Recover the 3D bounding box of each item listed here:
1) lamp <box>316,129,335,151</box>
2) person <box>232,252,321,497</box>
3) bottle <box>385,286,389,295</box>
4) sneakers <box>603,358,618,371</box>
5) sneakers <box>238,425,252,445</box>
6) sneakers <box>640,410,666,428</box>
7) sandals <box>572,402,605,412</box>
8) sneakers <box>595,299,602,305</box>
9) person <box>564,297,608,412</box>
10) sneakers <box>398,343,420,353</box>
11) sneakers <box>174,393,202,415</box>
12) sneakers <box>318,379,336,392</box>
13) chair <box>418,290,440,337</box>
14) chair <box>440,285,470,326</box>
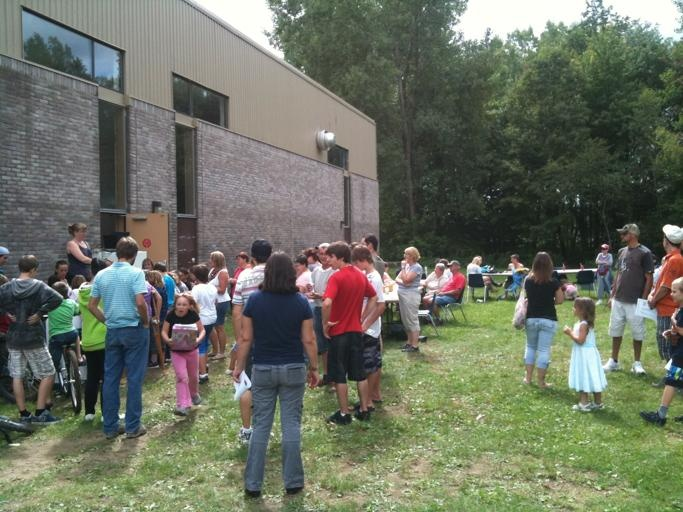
[{"bbox_3d":[-0.575,-4.253,26.995,0.441,0.807,0.862,0,0,19],"label":"lamp"},{"bbox_3d":[-0.946,1.587,10.610,1.091,3.434,0.966,-1,2,-6],"label":"person"},{"bbox_3d":[0.969,0.702,16.038,0.086,0.108,0.092,0,-2,0],"label":"bottle"},{"bbox_3d":[4.884,1.989,13.753,0.362,0.187,0.152,0,-4,3],"label":"sneakers"},{"bbox_3d":[-1.464,2.679,11.273,0.170,0.281,0.418,4,-5,-22],"label":"sneakers"},{"bbox_3d":[4.842,2.502,11.687,0.358,0.182,0.151,21,5,40],"label":"sneakers"},{"bbox_3d":[4.023,2.431,12.197,0.426,0.209,0.201,1,-1,19],"label":"sandals"},{"bbox_3d":[7.205,1.257,21.017,0.120,0.166,0.367,-6,-10,36],"label":"sneakers"},{"bbox_3d":[3.978,1.576,12.230,0.622,1.832,0.360,0,0,13],"label":"person"},{"bbox_3d":[1.397,1.854,15.297,0.272,0.111,0.158,7,-10,-15],"label":"sneakers"},{"bbox_3d":[-2.534,2.453,12.354,0.161,0.256,0.545,4,24,18],"label":"sneakers"},{"bbox_3d":[-0.265,2.213,13.104,0.167,0.240,0.553,4,2,-28],"label":"sneakers"},{"bbox_3d":[2.017,1.272,17.683,0.748,1.267,0.652,0,-2,14],"label":"chair"},{"bbox_3d":[2.852,1.238,19.372,0.761,1.232,0.693,2,-4,-14],"label":"chair"}]
